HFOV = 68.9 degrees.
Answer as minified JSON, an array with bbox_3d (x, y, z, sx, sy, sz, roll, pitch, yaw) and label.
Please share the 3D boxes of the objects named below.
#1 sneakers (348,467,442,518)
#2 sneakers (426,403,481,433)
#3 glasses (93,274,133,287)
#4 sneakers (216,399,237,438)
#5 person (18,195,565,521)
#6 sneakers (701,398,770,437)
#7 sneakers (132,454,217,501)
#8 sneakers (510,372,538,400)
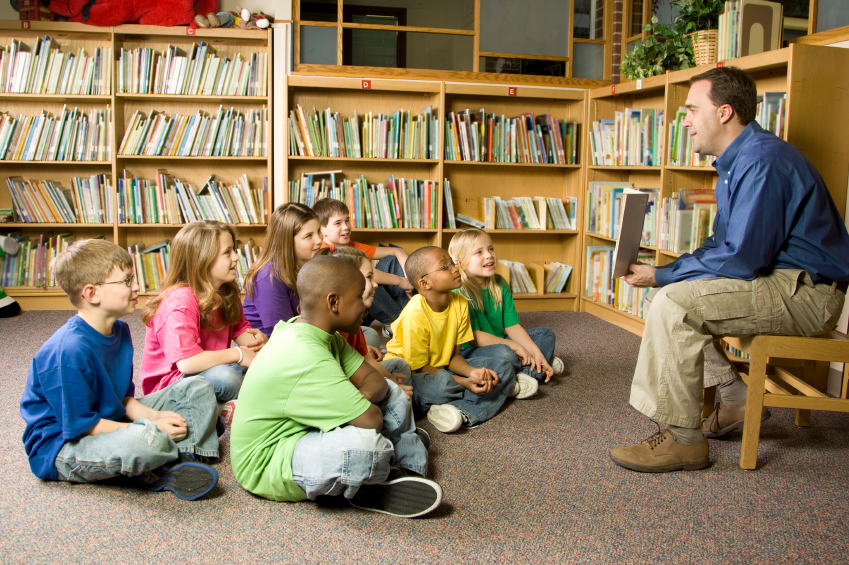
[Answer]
[{"bbox_3d":[-0.090,0.752,2.250,0.339,0.132,0.143,6,7,5],"label":"sneakers"},{"bbox_3d":[0.116,0.615,2.786,0.186,0.108,0.075,9,12,11],"label":"sneakers"},{"bbox_3d":[-1.126,0.001,2.292,0.048,0.044,0.145,3,13,31],"label":"glasses"},{"bbox_3d":[-0.862,0.588,2.674,0.048,0.140,0.135,4,-5,43],"label":"sneakers"},{"bbox_3d":[-0.714,0.339,2.416,1.326,0.564,1.280,0,4,-12],"label":"person"},{"bbox_3d":[1.326,0.580,2.642,0.279,0.118,0.099,-25,13,34],"label":"sneakers"},{"bbox_3d":[-0.908,0.721,2.324,0.333,0.130,0.130,-7,-2,0],"label":"sneakers"},{"bbox_3d":[0.502,0.521,3.114,0.085,0.064,0.151,-27,12,-15],"label":"sneakers"}]
